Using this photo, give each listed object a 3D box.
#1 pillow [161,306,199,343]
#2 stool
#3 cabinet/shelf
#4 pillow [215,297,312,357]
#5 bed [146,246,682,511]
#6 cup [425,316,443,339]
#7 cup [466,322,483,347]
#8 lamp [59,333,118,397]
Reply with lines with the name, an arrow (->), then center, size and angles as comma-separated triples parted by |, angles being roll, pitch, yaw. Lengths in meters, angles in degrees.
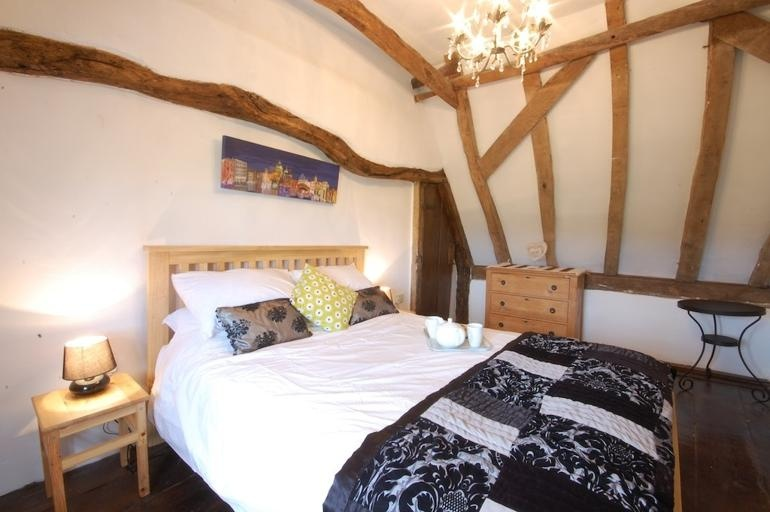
pillow -> -1.564, 0.508, 3.840 | 0.240, 0.233, 0.068 | -23, -25, -22
stool -> -2.025, 1.298, 3.553 | 0.701, 0.804, 0.509 | -8, 4, -34
cabinet/shelf -> 1.695, 0.575, 5.692 | 1.028, 0.927, 0.562 | 7, 13, 35
pillow -> -0.910, 0.510, 3.833 | 0.636, 0.248, 0.264 | -8, 4, -43
bed -> -0.049, 0.538, 3.994 | 3.051, 1.792, 2.335 | 1, 3, 32
cup -> 0.360, 0.553, 3.894 | 0.131, 0.147, 0.164 | 2, -9, 0
cup -> 0.689, 0.600, 3.856 | 0.116, 0.170, 0.204 | -5, 3, 9
lamp -> -2.089, 0.736, 3.639 | 0.388, 0.411, 0.392 | -7, 13, -45
